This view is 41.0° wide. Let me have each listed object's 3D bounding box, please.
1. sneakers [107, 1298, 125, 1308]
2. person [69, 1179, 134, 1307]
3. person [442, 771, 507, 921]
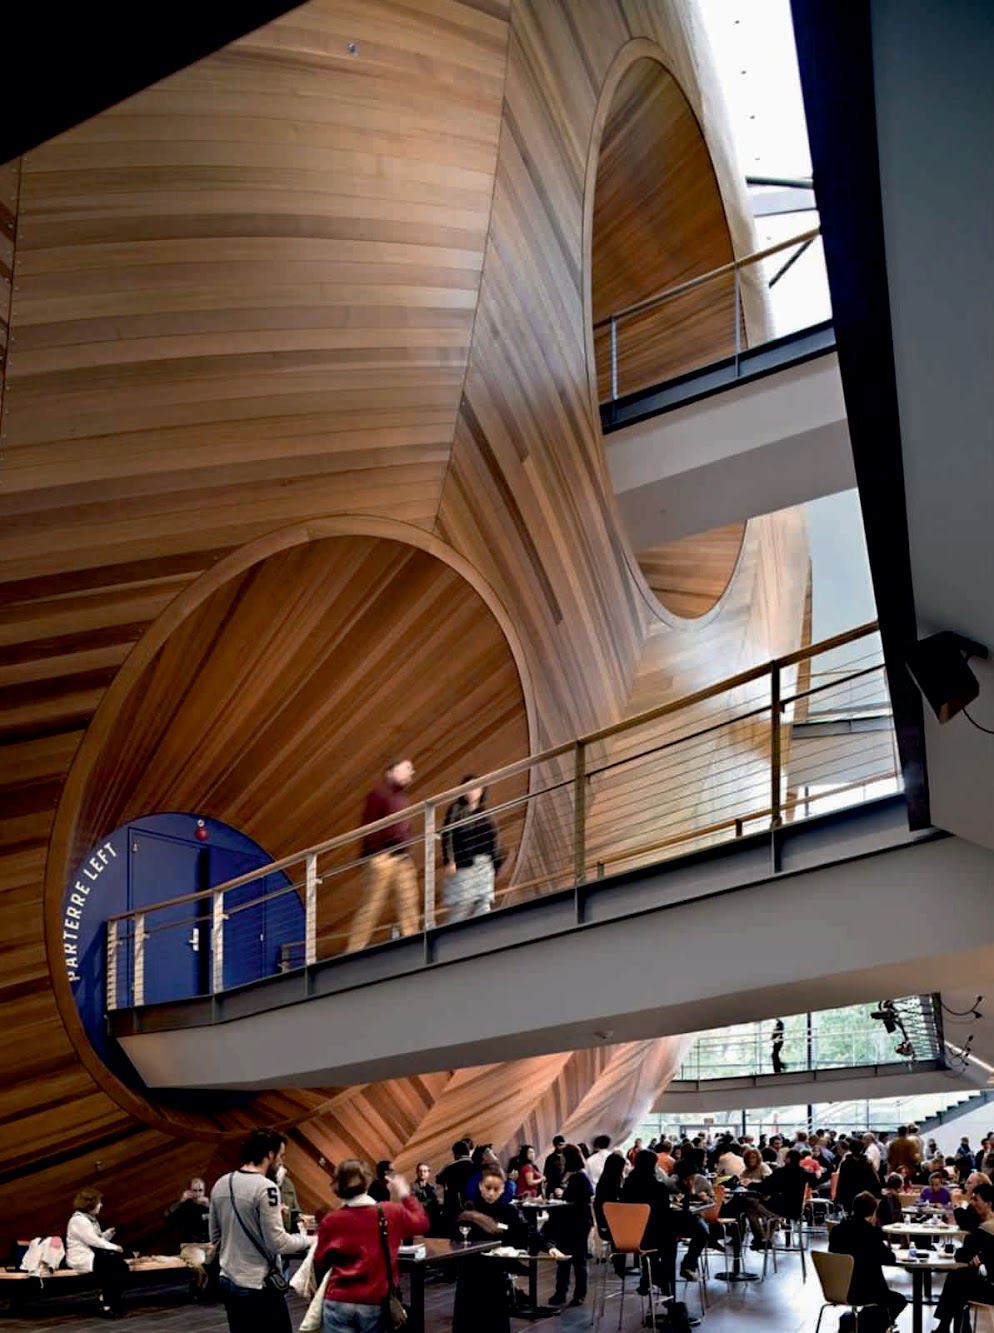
[{"bbox_3d":[-2.369,3.998,8.288,0.116,0.044,0.039,-5,-9,23],"label":"sneakers"},{"bbox_3d":[-2.536,3.716,8.529,0.380,0.702,0.471,3,-14,-16],"label":"person"},{"bbox_3d":[-0.165,1.242,8.680,0.404,1.133,0.310,0,24,-5],"label":"person"}]
